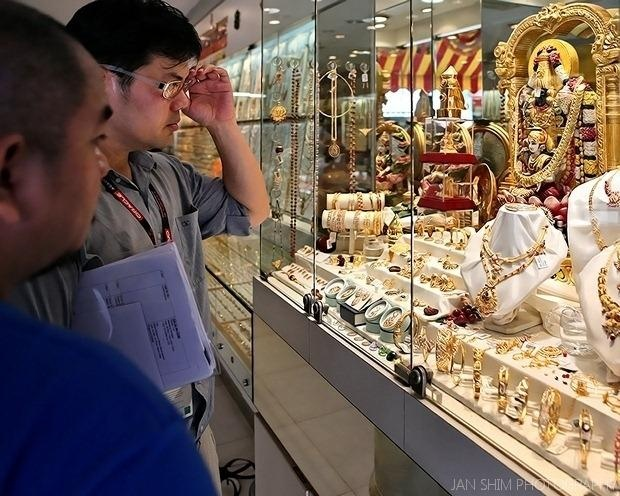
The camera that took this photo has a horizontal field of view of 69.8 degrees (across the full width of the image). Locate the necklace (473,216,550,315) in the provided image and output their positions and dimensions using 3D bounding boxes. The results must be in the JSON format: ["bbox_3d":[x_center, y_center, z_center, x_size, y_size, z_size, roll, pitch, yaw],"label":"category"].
[{"bbox_3d":[0.637,0.062,1.381,0.163,0.339,0.214,10,5,-35],"label":"necklace"}]

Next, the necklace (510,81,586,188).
[{"bbox_3d":[0.816,-0.363,1.552,0.092,0.259,0.153,-11,21,-34],"label":"necklace"}]

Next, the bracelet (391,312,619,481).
[{"bbox_3d":[0.581,0.345,1.237,0.295,0.197,0.594,-10,16,-32],"label":"bracelet"}]

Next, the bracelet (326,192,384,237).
[{"bbox_3d":[0.202,-0.166,2.072,0.242,0.213,0.253,4,15,4],"label":"bracelet"}]
